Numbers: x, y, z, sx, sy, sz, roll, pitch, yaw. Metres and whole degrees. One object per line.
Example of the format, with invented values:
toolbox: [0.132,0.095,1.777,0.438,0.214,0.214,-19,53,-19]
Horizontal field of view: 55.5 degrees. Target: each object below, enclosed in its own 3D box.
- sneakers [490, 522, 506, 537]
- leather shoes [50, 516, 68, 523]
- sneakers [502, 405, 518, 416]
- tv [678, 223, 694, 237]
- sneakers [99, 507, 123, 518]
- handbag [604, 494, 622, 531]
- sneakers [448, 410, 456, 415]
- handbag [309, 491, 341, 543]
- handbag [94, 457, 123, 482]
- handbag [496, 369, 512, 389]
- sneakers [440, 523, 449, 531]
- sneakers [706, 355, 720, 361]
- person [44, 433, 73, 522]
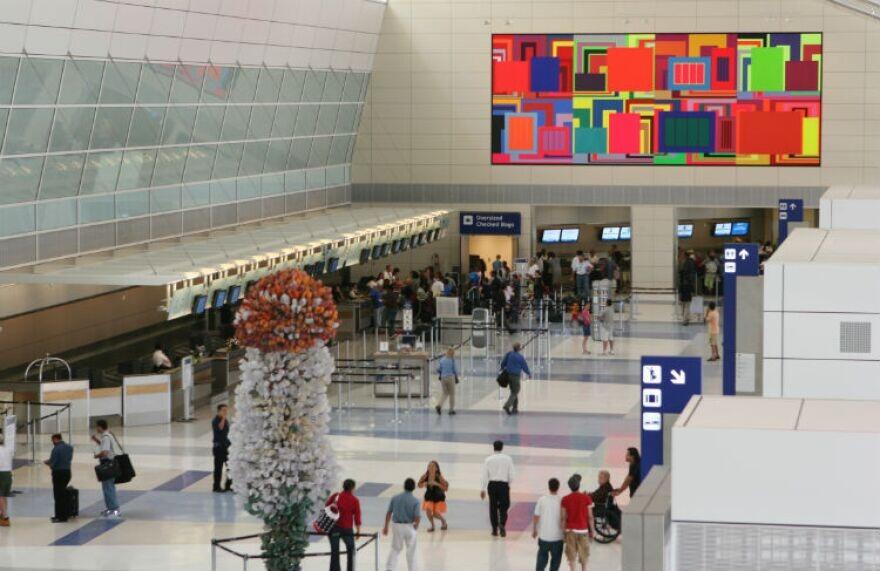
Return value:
sneakers: [0.910,3.867,13.113,0.111,0.139,0.329,1,4,8]
leather shoes: [-6.414,3.941,13.991,0.244,0.171,0.105,-1,1,8]
sneakers: [1.635,2.976,19.716,0.525,0.172,0.143,-3,11,-42]
tv: [12.153,-2.788,41.624,0.771,0.539,0.103,-5,-7,-9]
sneakers: [-5.621,3.907,14.215,0.269,0.107,0.155,6,-1,-1]
handbag: [2.578,3.445,12.555,0.199,0.717,0.321,0,7,8]
sneakers: [0.276,3.030,19.810,0.067,0.139,0.208,6,15,34]
handbag: [-1.712,3.282,11.617,0.286,0.523,0.393,19,11,12]
handbag: [-5.569,3.110,13.971,0.402,0.373,0.349,-2,-12,-3]
handbag: [1.473,2.179,19.448,0.355,0.656,0.548,2,-1,13]
sneakers: [0.057,3.893,13.359,0.111,0.100,0.061,3,4,10]
sneakers: [7.835,2.121,24.017,0.379,0.113,0.140,0,2,11]
person: [-6.444,3.245,14.143,0.375,1.372,0.658,-5,8,-25]
